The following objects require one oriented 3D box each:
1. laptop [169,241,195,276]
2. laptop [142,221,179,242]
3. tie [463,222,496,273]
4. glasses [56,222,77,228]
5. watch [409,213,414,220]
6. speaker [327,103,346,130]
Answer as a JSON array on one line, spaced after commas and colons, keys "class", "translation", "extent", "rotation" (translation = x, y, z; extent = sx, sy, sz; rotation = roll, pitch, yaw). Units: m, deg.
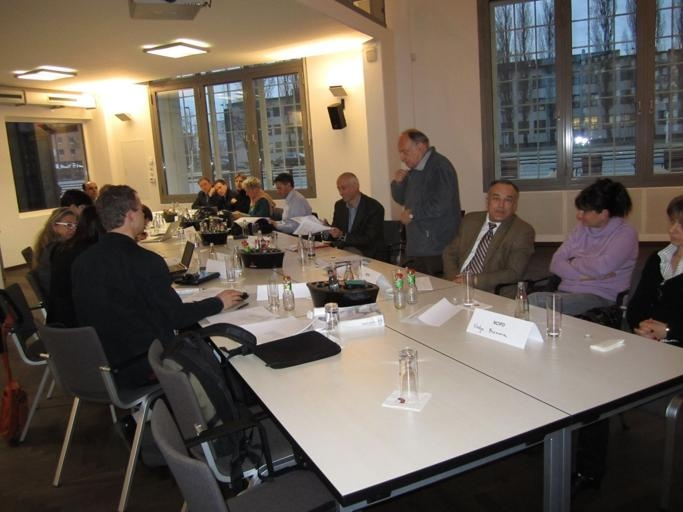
[{"class": "laptop", "translation": [-1.236, 0.033, 4.068], "extent": [0.233, 0.240, 0.331], "rotation": [-6, 22, -27]}, {"class": "laptop", "translation": [-2.149, -0.287, 6.137], "extent": [0.312, 0.144, 0.406], "rotation": [2, 7, 2]}, {"class": "tie", "translation": [1.055, -0.055, 3.910], "extent": [0.088, 0.323, 0.240], "rotation": [22, 7, -3]}, {"class": "glasses", "translation": [-2.187, -0.253, 4.119], "extent": [0.093, 0.029, 0.090], "rotation": [2, 2, 36]}, {"class": "watch", "translation": [0.606, -0.342, 4.487], "extent": [0.042, 0.072, 0.039], "rotation": [3, 13, 12]}, {"class": "speaker", "translation": [-0.066, -2.429, 8.833], "extent": [0.293, 0.497, 0.281], "rotation": [-6, 14, 5]}]
